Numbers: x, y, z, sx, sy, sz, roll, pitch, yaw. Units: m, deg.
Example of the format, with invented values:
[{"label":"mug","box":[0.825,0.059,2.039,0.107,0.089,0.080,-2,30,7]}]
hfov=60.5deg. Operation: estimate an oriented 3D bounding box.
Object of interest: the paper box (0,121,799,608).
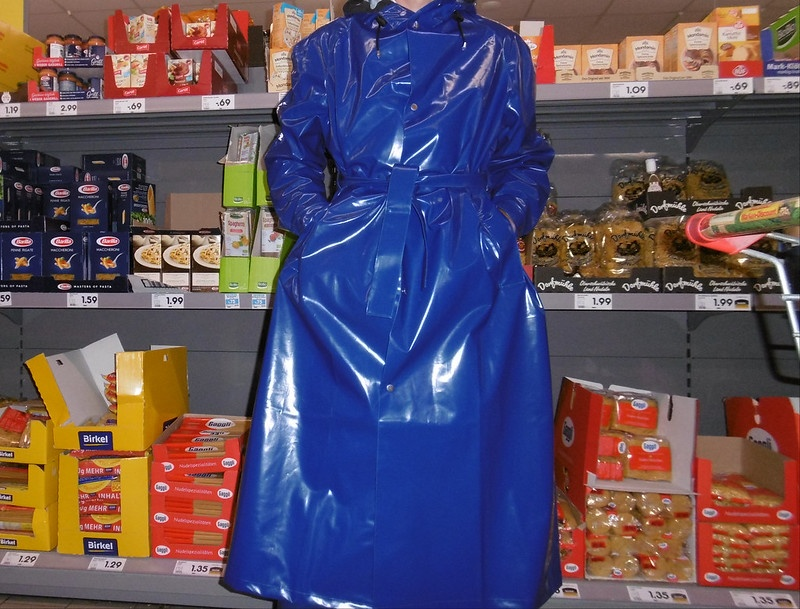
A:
[{"label":"paper box","box":[0.045,0.252,2.531,1.990,1.130,0.624,0,3,4]}]
